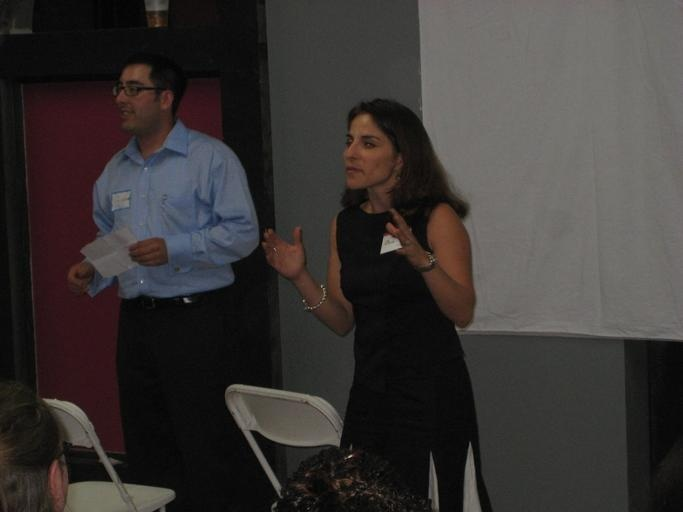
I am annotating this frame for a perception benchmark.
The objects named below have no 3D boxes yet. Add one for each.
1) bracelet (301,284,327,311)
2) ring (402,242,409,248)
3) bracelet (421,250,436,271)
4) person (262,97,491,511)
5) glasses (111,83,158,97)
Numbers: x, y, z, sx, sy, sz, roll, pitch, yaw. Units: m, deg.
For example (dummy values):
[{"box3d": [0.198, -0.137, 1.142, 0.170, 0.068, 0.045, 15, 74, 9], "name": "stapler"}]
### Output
[{"box3d": [-0.093, 0.172, 2.582, 0.096, 0.108, 0.029, -14, -26, 27], "name": "bracelet"}, {"box3d": [0.214, -0.039, 2.210, 0.029, 0.019, 0.017, 2, 9, 26], "name": "ring"}, {"box3d": [0.302, 0.020, 2.291, 0.029, 0.057, 0.069, 1, -11, 5], "name": "bracelet"}, {"box3d": [0.162, 0.177, 2.419, 0.737, 1.505, 0.478, 0, 8, 14], "name": "person"}, {"box3d": [-0.981, -0.792, 3.125, 0.216, 0.073, 0.050, -3, 8, -1], "name": "glasses"}]
